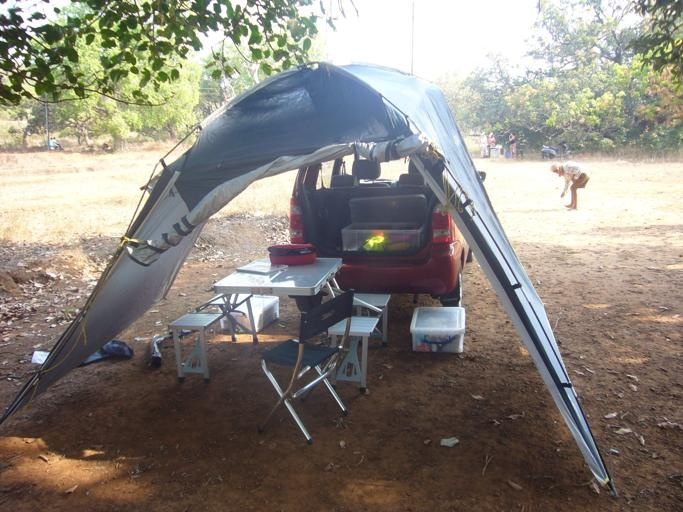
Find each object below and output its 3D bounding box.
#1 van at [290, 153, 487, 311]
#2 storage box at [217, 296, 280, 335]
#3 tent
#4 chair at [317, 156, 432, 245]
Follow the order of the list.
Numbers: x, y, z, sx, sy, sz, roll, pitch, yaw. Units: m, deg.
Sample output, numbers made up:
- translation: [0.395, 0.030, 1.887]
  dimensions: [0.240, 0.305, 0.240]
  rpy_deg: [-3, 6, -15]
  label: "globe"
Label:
- translation: [0.684, -0.546, 8.035]
  dimensions: [1.784, 1.450, 2.935]
  rpy_deg: [-3, 24, 16]
  label: "van"
- translation: [-1.233, 0.788, 7.535]
  dimensions: [0.534, 0.240, 0.687]
  rpy_deg: [-2, 13, 2]
  label: "storage box"
- translation: [-0.463, -0.962, 5.743]
  dimensions: [4.829, 2.375, 4.794]
  rpy_deg: [0, 22, 10]
  label: "tent"
- translation: [0.401, -0.642, 7.437]
  dimensions: [1.360, 0.797, 1.239]
  rpy_deg: [3, 20, 15]
  label: "chair"
